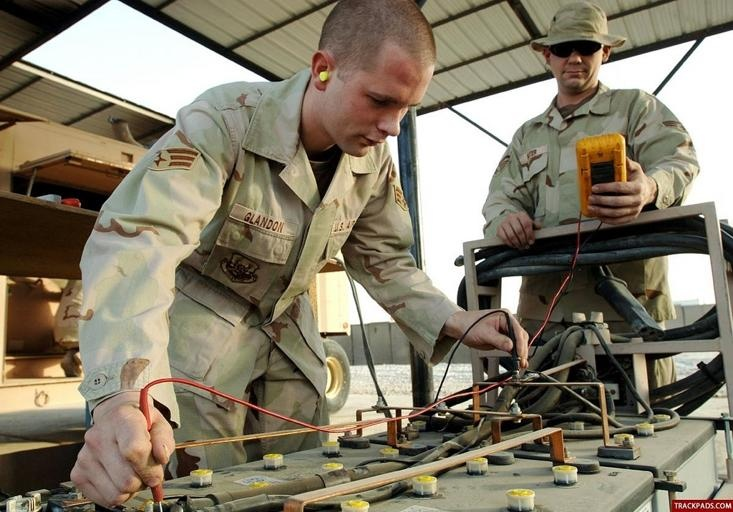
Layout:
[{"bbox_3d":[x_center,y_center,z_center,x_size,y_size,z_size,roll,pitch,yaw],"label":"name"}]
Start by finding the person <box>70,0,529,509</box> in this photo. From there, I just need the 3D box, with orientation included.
[{"bbox_3d":[-0.254,-0.052,2.283,1.370,1.653,0.967,10,-18,-32],"label":"person"}]

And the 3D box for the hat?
[{"bbox_3d":[1.074,-1.128,3.371,0.325,0.151,0.317,-3,6,41],"label":"hat"}]
